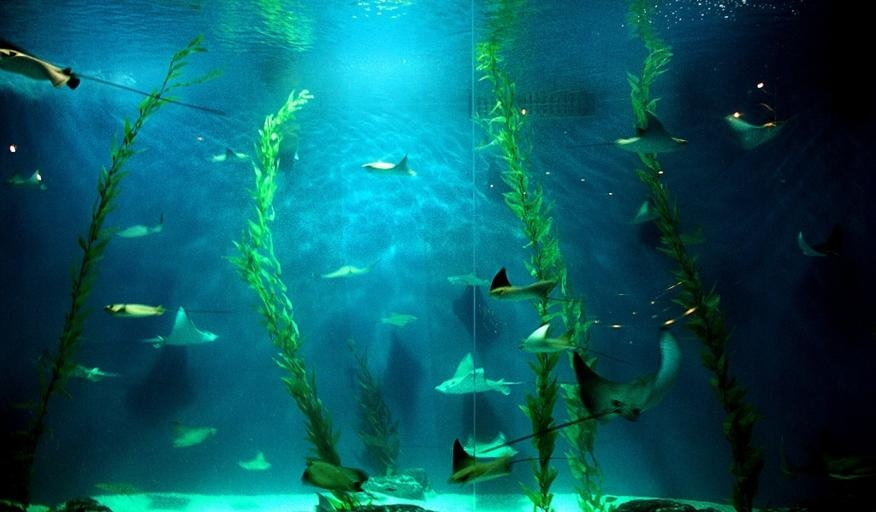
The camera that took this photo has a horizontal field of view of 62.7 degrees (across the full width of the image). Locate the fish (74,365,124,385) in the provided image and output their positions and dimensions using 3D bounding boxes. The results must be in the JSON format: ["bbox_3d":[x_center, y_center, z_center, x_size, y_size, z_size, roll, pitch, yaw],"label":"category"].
[{"bbox_3d":[-5.415,1.868,11.469,0.613,0.274,0.443,8,-23,-38],"label":"fish"}]

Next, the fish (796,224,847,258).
[{"bbox_3d":[5.634,-0.195,10.588,0.649,0.416,0.156,-8,-19,4],"label":"fish"}]

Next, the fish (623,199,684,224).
[{"bbox_3d":[3.136,-0.661,10.919,0.427,0.318,0.195,-22,-24,40],"label":"fish"}]

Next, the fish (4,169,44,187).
[{"bbox_3d":[-6.563,-1.226,11.533,0.382,0.285,0.133,3,-50,1],"label":"fish"}]

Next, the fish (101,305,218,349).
[{"bbox_3d":[-4.034,1.081,11.120,0.930,0.412,1.091,-6,-15,39],"label":"fish"}]
